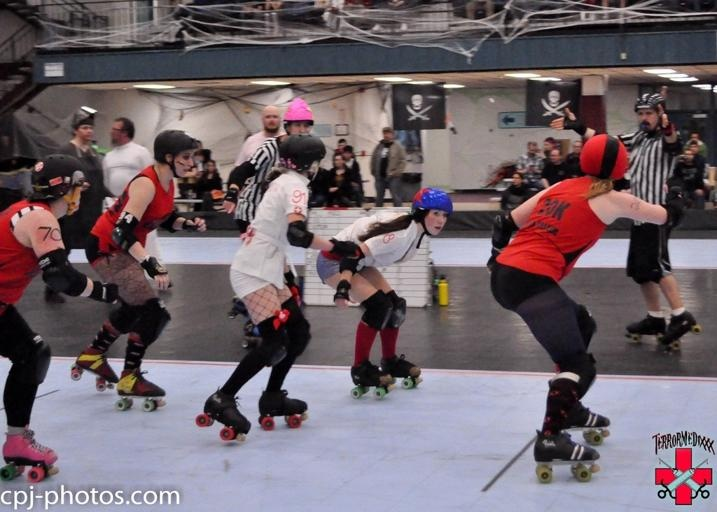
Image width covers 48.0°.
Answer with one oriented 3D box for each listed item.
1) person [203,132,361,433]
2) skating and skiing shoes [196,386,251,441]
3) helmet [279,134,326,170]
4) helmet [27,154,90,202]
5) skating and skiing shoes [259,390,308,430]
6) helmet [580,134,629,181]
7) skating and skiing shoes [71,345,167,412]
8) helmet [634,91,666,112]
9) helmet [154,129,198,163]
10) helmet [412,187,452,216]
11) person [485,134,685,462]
[{"bbox_3d":[-0.561,0.203,5.420,0.720,2.003,1.060,6,14,32],"label":"person"},{"bbox_3d":[-0.835,1.063,5.318,0.367,0.235,0.219,21,7,37],"label":"skating and skiing shoes"},{"bbox_3d":[-0.366,-0.721,5.529,0.324,0.207,0.216,-15,21,0],"label":"helmet"},{"bbox_3d":[-1.770,-0.455,4.892,0.291,0.222,0.335,3,-11,28],"label":"helmet"},{"bbox_3d":[-0.530,1.068,5.618,0.370,0.215,0.217,2,9,-27],"label":"skating and skiing shoes"},{"bbox_3d":[1.458,-0.606,4.888,0.272,0.238,0.310,11,18,2],"label":"helmet"},{"bbox_3d":[-1.856,0.977,6.257,0.739,0.266,0.202,23,16,2],"label":"skating and skiing shoes"},{"bbox_3d":[2.656,-1.410,7.329,0.277,0.121,0.188,4,8,20],"label":"helmet"},{"bbox_3d":[-1.310,-0.793,5.837,0.312,0.165,0.224,0,18,-12],"label":"helmet"},{"bbox_3d":[0.542,-0.407,6.037,0.275,0.173,0.197,11,1,19],"label":"helmet"},{"bbox_3d":[1.227,0.255,4.910,0.985,1.946,0.983,5,14,29],"label":"person"}]
